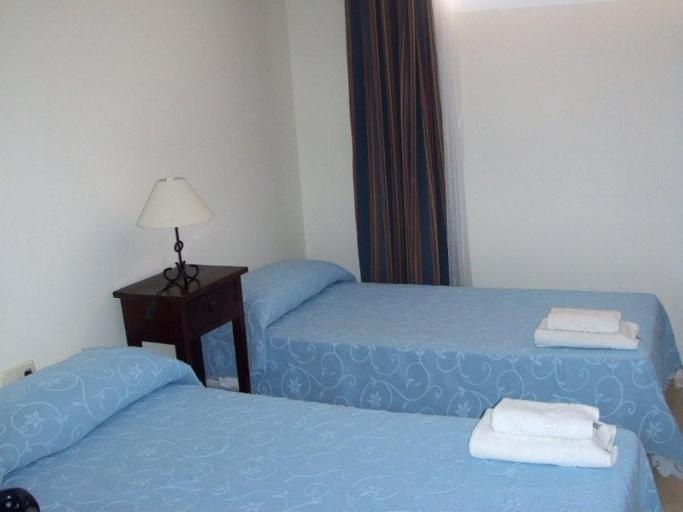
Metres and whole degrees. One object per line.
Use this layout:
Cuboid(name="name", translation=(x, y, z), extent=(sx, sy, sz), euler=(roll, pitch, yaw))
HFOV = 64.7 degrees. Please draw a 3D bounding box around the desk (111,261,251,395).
Cuboid(name="desk", translation=(-0.806, 0.322, 3.162), extent=(0.549, 0.924, 0.716), euler=(5, 20, 18))
